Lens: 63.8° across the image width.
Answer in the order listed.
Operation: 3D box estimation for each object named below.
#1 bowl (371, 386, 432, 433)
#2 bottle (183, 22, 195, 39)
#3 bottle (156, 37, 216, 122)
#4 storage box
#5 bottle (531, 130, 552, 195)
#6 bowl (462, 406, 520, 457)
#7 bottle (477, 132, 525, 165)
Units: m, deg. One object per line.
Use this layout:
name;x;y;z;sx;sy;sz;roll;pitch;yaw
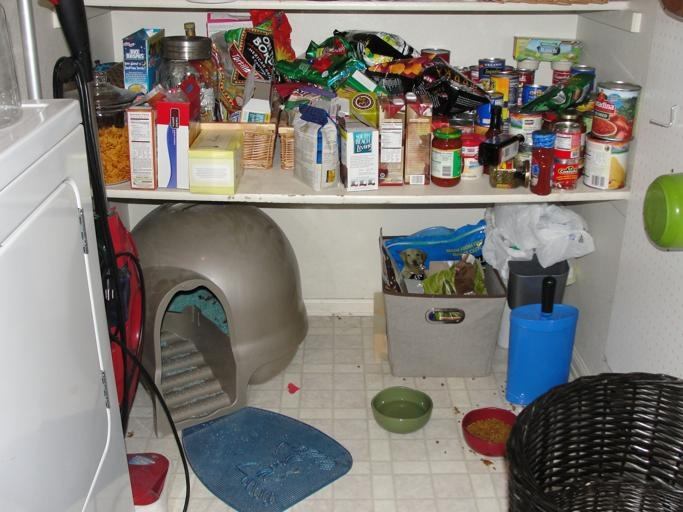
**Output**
bowl;0.196;0.498;1.790;0.192;0.075;0.190;0;15;0
bottle;-0.518;-0.769;1.872;0.038;0.052;0.201;-7;22;-12
bottle;-0.536;-0.597;1.903;0.190;0.306;0.198;4;36;-3
storage box;0.322;0.227;2.001;0.441;0.297;0.325;0;32;1
bottle;0.610;-0.278;1.669;0.067;0.187;0.060;5;24;15
bowl;0.463;0.548;1.730;0.175;0.075;0.175;-11;1;0
bottle;0.505;-0.327;1.739;0.134;0.095;0.114;4;23;14
